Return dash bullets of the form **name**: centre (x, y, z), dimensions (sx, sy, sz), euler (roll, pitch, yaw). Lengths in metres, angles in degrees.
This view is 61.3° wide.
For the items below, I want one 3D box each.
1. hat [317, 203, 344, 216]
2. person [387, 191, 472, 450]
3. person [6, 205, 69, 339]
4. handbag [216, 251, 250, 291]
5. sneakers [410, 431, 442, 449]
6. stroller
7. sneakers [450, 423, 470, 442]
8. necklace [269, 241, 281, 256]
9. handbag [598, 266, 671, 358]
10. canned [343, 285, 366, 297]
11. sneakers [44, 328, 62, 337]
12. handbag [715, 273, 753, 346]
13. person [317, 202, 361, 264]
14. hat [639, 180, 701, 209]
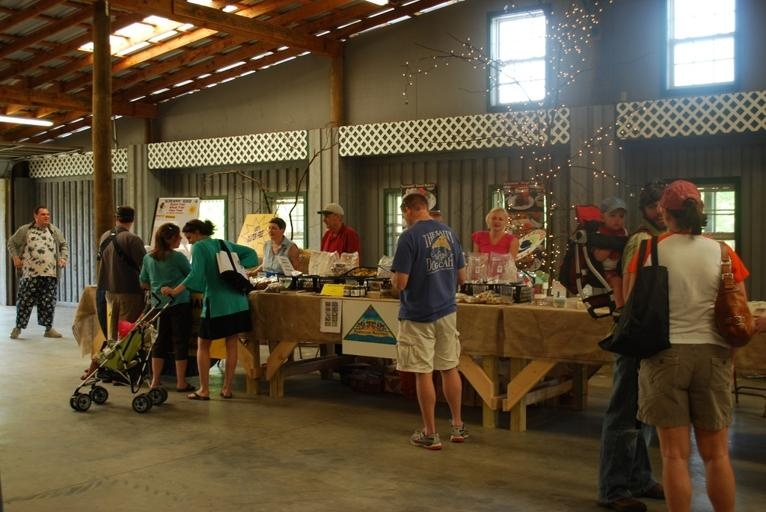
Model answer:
- **hat**: centre (-0.727, -0.644, 8.557), dimensions (0.396, 0.194, 0.275), euler (3, 0, 1)
- **person**: centre (0.427, 0.585, 5.967), dimensions (0.749, 2.319, 0.412), euler (0, 2, -11)
- **person**: centre (-6.052, 0.277, 11.339), dimensions (0.975, 2.252, 0.771), euler (0, 2, -8)
- **handbag**: centre (-1.681, 0.175, 7.150), dimensions (0.149, 0.383, 0.286), euler (-38, -45, 16)
- **sneakers**: centre (0.400, 1.688, 5.912), dimensions (0.254, 0.116, 0.127), euler (6, 3, 36)
- **stroller**: centre (-2.913, 1.094, 7.319), dimensions (0.959, 1.121, 0.730), euler (-5, -3, -3)
- **sneakers**: centre (0.713, 1.658, 6.034), dimensions (0.094, 0.096, 0.224), euler (-1, -1, 16)
- **necklace**: centre (-1.448, -0.087, 8.694), dimensions (0.198, 0.185, 0.106), euler (-1, -2, 39)
- **handbag**: centre (1.784, 0.245, 4.348), dimensions (0.356, 0.613, 0.486), euler (15, 28, 34)
- **canned**: centre (-0.308, 0.380, 6.976), dimensions (0.180, 0.125, 0.125), euler (2, -2, -15)
- **sneakers**: centre (-5.695, 1.353, 11.171), dimensions (0.323, 0.129, 0.161), euler (0, -1, 27)
- **handbag**: centre (2.245, 0.360, 4.131), dimensions (0.219, 0.475, 0.173), euler (1, 2, 29)
- **person**: centre (-0.589, -0.346, 8.588), dimensions (0.394, 0.647, 0.756), euler (-1, 3, -38)
- **hat**: centre (1.975, -0.423, 4.470), dimensions (0.303, 0.177, 0.430), euler (-3, 10, -6)
